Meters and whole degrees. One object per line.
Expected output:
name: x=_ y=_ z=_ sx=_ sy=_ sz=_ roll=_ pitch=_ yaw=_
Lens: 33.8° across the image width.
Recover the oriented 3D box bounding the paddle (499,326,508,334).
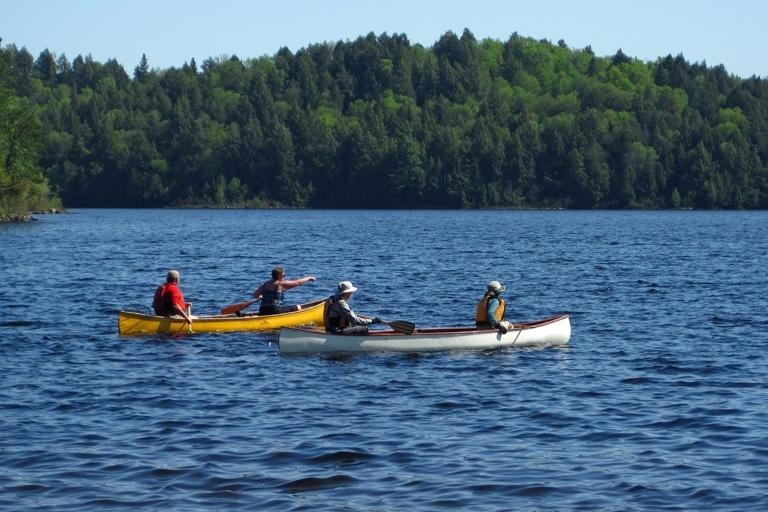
paddle: x=6.238 y=3.852 z=65.491 sx=0.299 sy=0.405 sz=0.121 roll=-4 pitch=-9 yaw=7

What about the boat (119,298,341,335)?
boat: x=-9.111 y=4.073 z=68.120 sx=11.071 sy=1.921 sz=4.441 roll=-5 pitch=11 yaw=-22

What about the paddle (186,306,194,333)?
paddle: x=-10.463 y=3.059 z=68.399 sx=0.351 sy=2.499 sz=0.299 roll=4 pitch=-45 yaw=-18

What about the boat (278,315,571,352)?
boat: x=2.114 y=4.202 z=65.692 sx=14.671 sy=1.572 sz=1.186 roll=-2 pitch=1 yaw=-1
